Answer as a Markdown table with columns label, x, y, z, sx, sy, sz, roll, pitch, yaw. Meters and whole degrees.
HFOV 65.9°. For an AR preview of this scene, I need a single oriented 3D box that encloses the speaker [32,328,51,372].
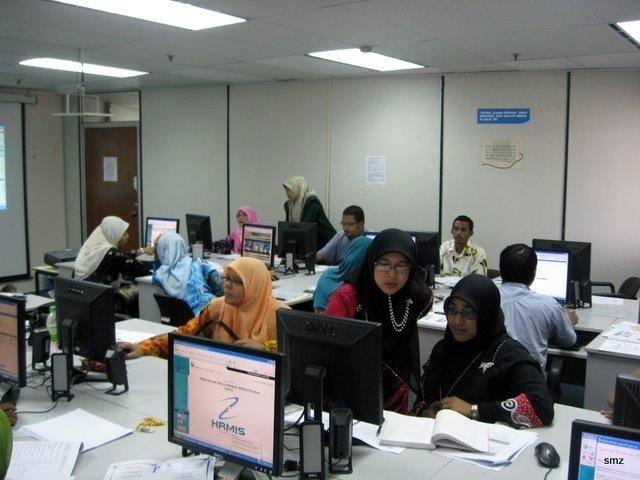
| label | x | y | z | sx | sy | sz | roll | pitch | yaw |
| --- | --- | --- | --- | --- | --- | --- | --- | --- | --- |
| speaker | -1.614 | 0.622 | 2.843 | 0.111 | 0.224 | 0.099 | 2 | -1 | -6 |

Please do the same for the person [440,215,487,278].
| label | x | y | z | sx | sy | sz | roll | pitch | yaw |
| --- | --- | --- | --- | --- | --- | --- | --- | --- | --- |
| person | 1.436 | 0.145 | 5.084 | 0.504 | 0.773 | 0.427 | 4 | -1 | 28 |

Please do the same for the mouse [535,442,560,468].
| label | x | y | z | sx | sy | sz | roll | pitch | yaw |
| --- | --- | --- | --- | --- | --- | --- | --- | --- | --- |
| mouse | 0.923 | 0.872 | 2.002 | 0.091 | 0.062 | 0.096 | 0 | 7 | 0 |

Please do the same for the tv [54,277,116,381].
| label | x | y | z | sx | sy | sz | roll | pitch | yaw |
| --- | --- | --- | --- | --- | --- | --- | --- | --- | --- |
| tv | -1.322 | 0.447 | 2.681 | 0.423 | 0.453 | 0.146 | 8 | 12 | 25 |

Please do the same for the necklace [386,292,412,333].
| label | x | y | z | sx | sy | sz | roll | pitch | yaw |
| --- | --- | --- | --- | --- | --- | --- | --- | --- | --- |
| necklace | 0.421 | 0.389 | 2.645 | 0.114 | 0.198 | 0.039 | 2 | -2 | -16 |

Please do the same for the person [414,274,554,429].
| label | x | y | z | sx | sy | sz | roll | pitch | yaw |
| --- | --- | --- | --- | --- | --- | --- | --- | --- | --- |
| person | 0.813 | 0.608 | 2.644 | 0.481 | 0.767 | 0.860 | 7 | -6 | -31 |

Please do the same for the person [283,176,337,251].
| label | x | y | z | sx | sy | sz | roll | pitch | yaw |
| --- | --- | --- | --- | --- | --- | --- | --- | --- | --- |
| person | -0.111 | -0.323 | 6.168 | 0.509 | 0.827 | 0.683 | -14 | -10 | -39 |

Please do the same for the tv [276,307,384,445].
| label | x | y | z | sx | sy | sz | roll | pitch | yaw |
| --- | --- | --- | --- | --- | --- | --- | --- | --- | --- |
| tv | 0.007 | 0.562 | 2.140 | 0.514 | 0.464 | 0.173 | 3 | 9 | 29 |

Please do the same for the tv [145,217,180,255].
| label | x | y | z | sx | sy | sz | roll | pitch | yaw |
| --- | --- | --- | --- | --- | --- | --- | --- | --- | --- |
| tv | -2.022 | -0.076 | 6.299 | 0.056 | 0.412 | 0.551 | 2 | 1 | 32 |

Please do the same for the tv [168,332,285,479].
| label | x | y | z | sx | sy | sz | roll | pitch | yaw |
| --- | --- | --- | --- | --- | --- | --- | --- | --- | --- |
| tv | -0.365 | 0.650 | 1.890 | 0.495 | 0.405 | 0.068 | 6 | 7 | 31 |

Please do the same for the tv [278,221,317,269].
| label | x | y | z | sx | sy | sz | roll | pitch | yaw |
| --- | --- | --- | --- | --- | --- | --- | --- | --- | --- |
| tv | -0.242 | 0.049 | 5.304 | 0.408 | 0.506 | 0.172 | 6 | 17 | 23 |

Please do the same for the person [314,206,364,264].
| label | x | y | z | sx | sy | sz | roll | pitch | yaw |
| --- | --- | --- | --- | --- | --- | --- | --- | --- | --- |
| person | 0.195 | -0.049 | 5.396 | 0.427 | 0.750 | 0.516 | -5 | 18 | -30 |

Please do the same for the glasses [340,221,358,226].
| label | x | y | z | sx | sy | sz | roll | pitch | yaw |
| --- | --- | --- | --- | --- | --- | --- | --- | --- | --- |
| glasses | 0.284 | -0.179 | 5.242 | 0.106 | 0.054 | 0.231 | -5 | 8 | -31 |

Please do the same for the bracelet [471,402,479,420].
| label | x | y | z | sx | sy | sz | roll | pitch | yaw |
| --- | --- | --- | --- | --- | --- | --- | --- | --- | --- |
| bracelet | 0.736 | 0.819 | 2.348 | 0.054 | 0.058 | 0.050 | -5 | -27 | 10 |

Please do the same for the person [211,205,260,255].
| label | x | y | z | sx | sy | sz | roll | pitch | yaw |
| --- | --- | --- | --- | --- | --- | --- | --- | --- | --- |
| person | -1.113 | -0.077 | 6.397 | 0.508 | 0.700 | 0.853 | -2 | 4 | -34 |

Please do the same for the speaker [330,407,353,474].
| label | x | y | z | sx | sy | sz | roll | pitch | yaw |
| --- | --- | --- | --- | --- | --- | --- | --- | --- | --- |
| speaker | 0.080 | 0.806 | 1.999 | 0.097 | 0.220 | 0.131 | 0 | 7 | 2 |

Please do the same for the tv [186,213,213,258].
| label | x | y | z | sx | sy | sz | roll | pitch | yaw |
| --- | --- | --- | --- | --- | --- | --- | --- | --- | --- |
| tv | -1.465 | -0.044 | 5.978 | 0.465 | 0.499 | 0.171 | 13 | 23 | 38 |
